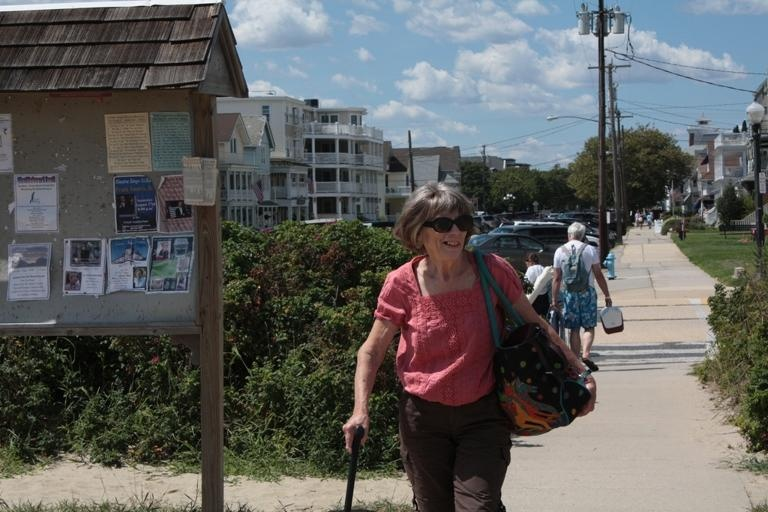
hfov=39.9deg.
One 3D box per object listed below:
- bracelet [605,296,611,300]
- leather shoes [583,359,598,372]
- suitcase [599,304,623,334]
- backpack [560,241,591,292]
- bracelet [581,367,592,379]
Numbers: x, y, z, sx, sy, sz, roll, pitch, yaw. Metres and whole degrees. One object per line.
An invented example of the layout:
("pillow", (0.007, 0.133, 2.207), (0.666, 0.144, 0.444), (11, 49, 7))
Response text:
("bracelet", (2.935, 0.545, 13.983), (0.061, 0.040, 0.048), (-4, -5, 30))
("leather shoes", (1.731, 0.919, 8.927), (0.084, 0.098, 0.373), (-11, -18, 7))
("suitcase", (2.958, 0.825, 13.824), (0.254, 0.356, 0.384), (-2, -3, 18))
("backpack", (2.639, 0.144, 14.194), (0.348, 0.628, 0.606), (-6, -4, 37))
("bracelet", (1.563, 0.911, 8.229), (0.080, 0.080, 0.023), (48, -2, 45))
